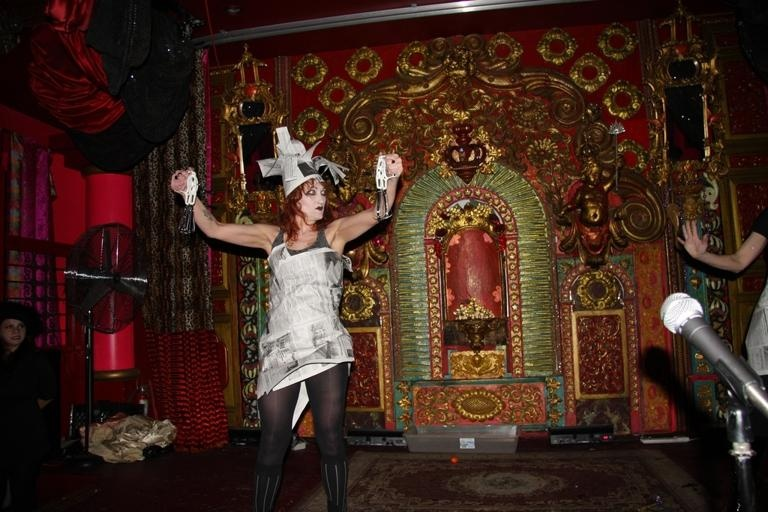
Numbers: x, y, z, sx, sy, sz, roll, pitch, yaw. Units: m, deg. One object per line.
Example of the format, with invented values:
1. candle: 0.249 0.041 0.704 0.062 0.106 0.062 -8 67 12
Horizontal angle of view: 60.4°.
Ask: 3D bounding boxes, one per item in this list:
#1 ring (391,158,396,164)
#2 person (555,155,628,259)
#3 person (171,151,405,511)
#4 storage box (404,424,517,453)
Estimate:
1. ring: 0.068 -0.704 4.905 0.045 0.042 0.012 -1 -1 -1
2. person: 2.295 -0.488 7.283 0.719 1.210 0.306 0 7 17
3. person: -0.457 0.568 4.893 1.057 2.541 0.578 -3 7 -2
4. storage box: 0.799 1.934 6.861 0.754 0.157 0.457 -2 -6 12
